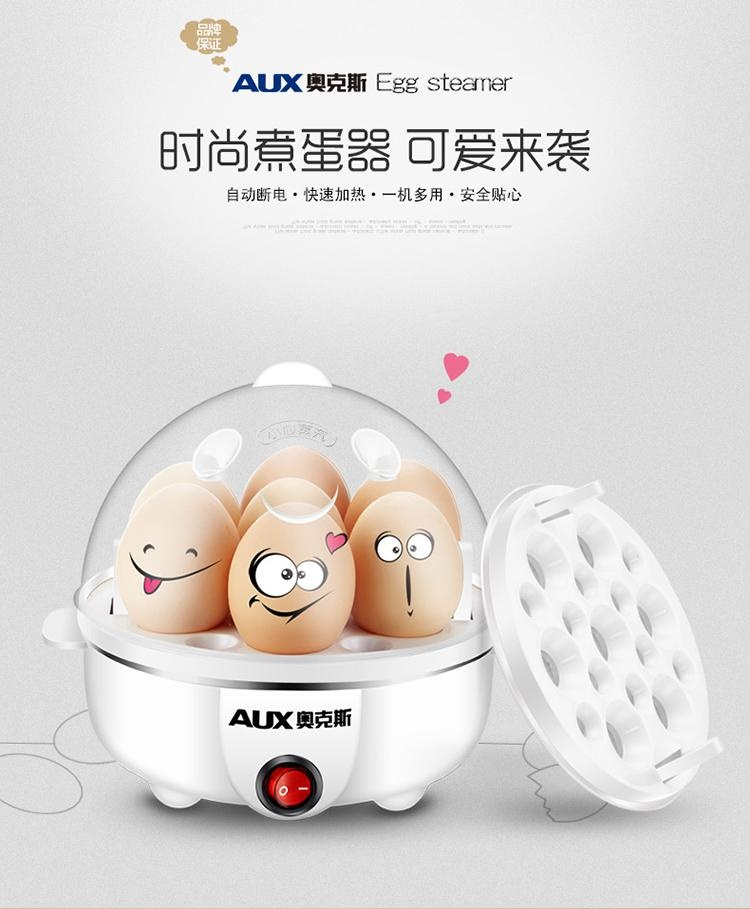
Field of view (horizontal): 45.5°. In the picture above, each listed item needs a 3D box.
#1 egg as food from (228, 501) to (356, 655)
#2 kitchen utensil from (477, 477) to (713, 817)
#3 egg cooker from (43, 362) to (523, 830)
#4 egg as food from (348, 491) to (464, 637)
[{"bbox_3d":[-0.085,0.130,0.935,0.143,0.159,0.136,1,11,-18],"label":"egg as food"},{"bbox_3d":[0.307,0.208,1.073,0.359,0.344,0.129,42,-47,-19],"label":"kitchen utensil"},{"bbox_3d":[-0.103,0.148,1.128,0.566,0.462,0.517,-3,8,-27],"label":"egg cooker"},{"bbox_3d":[0.029,0.127,0.999,0.141,0.153,0.131,3,2,11],"label":"egg as food"}]
